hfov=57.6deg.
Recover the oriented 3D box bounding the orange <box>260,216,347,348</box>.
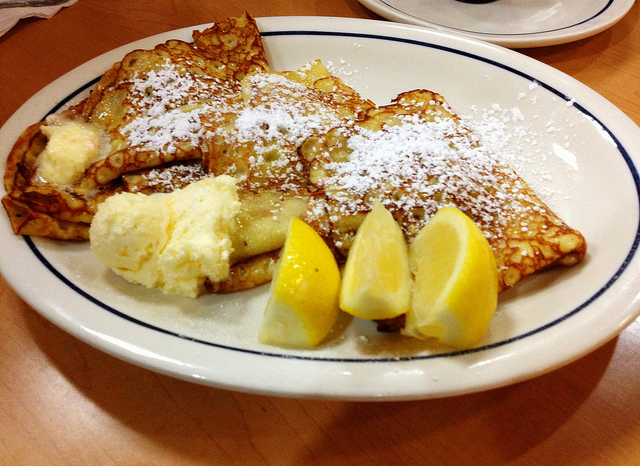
[{"bbox_3d":[-0.069,0.110,1.857,0.299,0.214,0.461,-4,39,-3],"label":"orange"}]

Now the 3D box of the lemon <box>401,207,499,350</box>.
[{"bbox_3d":[0.393,0.129,1.731,0.261,0.427,0.186,4,-16,6],"label":"lemon"}]

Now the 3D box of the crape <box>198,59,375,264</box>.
[{"bbox_3d":[-0.046,-0.335,2.179,0.809,0.619,0.670,-7,28,-18],"label":"crape"}]

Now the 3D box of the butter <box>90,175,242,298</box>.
[{"bbox_3d":[-0.455,0.025,1.819,0.482,0.348,0.146,-16,-17,-1],"label":"butter"}]

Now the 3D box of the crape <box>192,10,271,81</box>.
[{"bbox_3d":[-0.327,-0.734,2.274,0.303,0.251,0.084,-17,-17,-28],"label":"crape"}]

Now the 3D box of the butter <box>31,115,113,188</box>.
[{"bbox_3d":[-0.833,-0.294,2.040,0.244,0.212,0.326,5,20,13],"label":"butter"}]
